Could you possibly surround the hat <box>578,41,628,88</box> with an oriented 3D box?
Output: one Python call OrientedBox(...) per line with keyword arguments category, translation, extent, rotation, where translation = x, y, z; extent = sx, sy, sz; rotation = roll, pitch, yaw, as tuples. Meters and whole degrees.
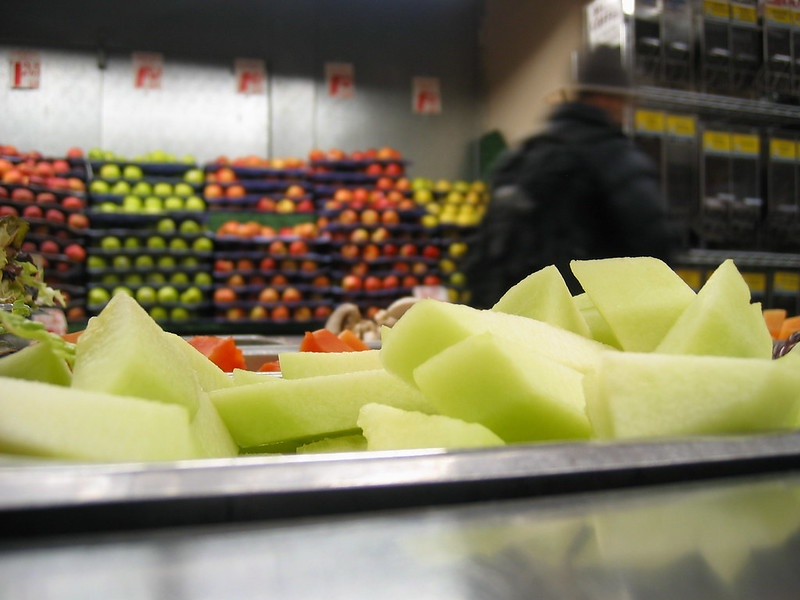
OrientedBox(category="hat", translation=(0.576, -0.650, 1.907), extent=(0.171, 0.108, 0.064), rotation=(2, 4, -23))
